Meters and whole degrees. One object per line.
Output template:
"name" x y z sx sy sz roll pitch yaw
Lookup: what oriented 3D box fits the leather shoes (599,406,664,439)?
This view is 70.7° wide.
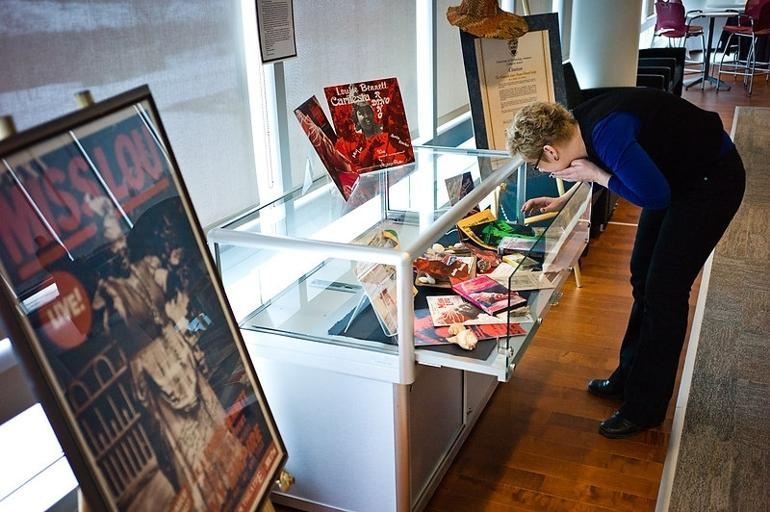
"leather shoes" 1.254 0.836 2.747 0.357 0.150 0.131 -2 23 -5

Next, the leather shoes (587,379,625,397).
"leather shoes" 1.188 0.717 2.907 0.162 0.070 0.083 5 32 10
